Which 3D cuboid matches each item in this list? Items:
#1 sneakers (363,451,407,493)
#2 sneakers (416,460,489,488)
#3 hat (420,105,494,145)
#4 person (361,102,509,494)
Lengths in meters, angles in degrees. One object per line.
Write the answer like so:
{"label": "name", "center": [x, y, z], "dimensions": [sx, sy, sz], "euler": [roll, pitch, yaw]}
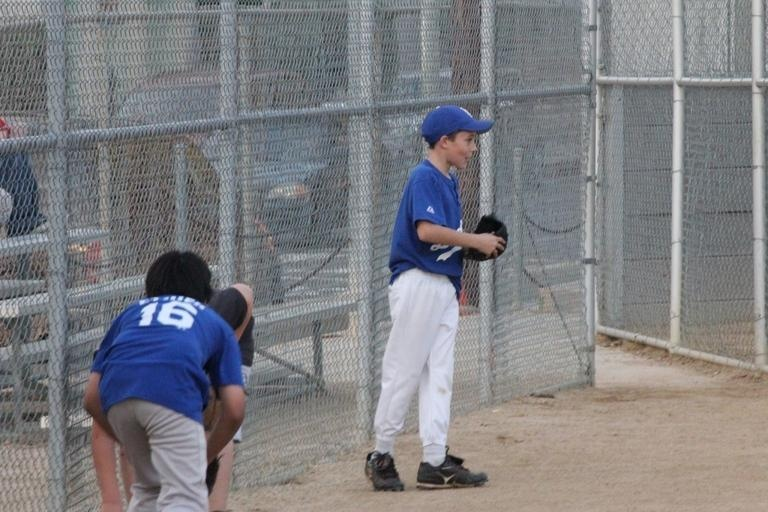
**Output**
{"label": "sneakers", "center": [-0.002, 1.458, 8.867], "dimensions": [0.190, 0.241, 0.505], "euler": [0, 8, -15]}
{"label": "sneakers", "center": [0.447, 1.483, 8.917], "dimensions": [0.521, 0.241, 0.188], "euler": [-2, 3, -10]}
{"label": "hat", "center": [0.476, -0.918, 8.842], "dimensions": [0.394, 0.209, 0.254], "euler": [-8, 8, 4]}
{"label": "person", "center": [0.291, 0.291, 8.800], "dimensions": [0.944, 2.532, 0.635], "euler": [-5, 12, -21]}
